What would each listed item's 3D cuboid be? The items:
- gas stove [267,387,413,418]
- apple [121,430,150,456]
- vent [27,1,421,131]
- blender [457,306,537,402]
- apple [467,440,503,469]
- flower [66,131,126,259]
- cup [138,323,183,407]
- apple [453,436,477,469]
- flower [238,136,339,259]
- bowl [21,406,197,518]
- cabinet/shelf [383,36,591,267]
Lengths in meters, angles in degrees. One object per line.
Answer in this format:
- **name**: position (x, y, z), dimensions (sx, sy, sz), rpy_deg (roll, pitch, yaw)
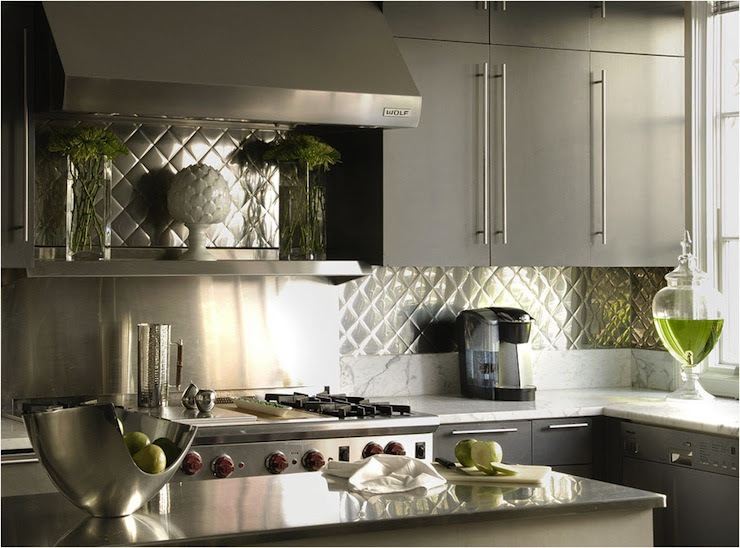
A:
- **gas stove**: position (-0.163, 0.608, 3.696), dimensions (0.748, 0.061, 0.452), rpy_deg (0, 0, 39)
- **apple**: position (-0.639, 0.463, 2.115), dimensions (0.057, 0.076, 0.060), rpy_deg (-4, -15, -8)
- **vent**: position (-0.591, -1.008, 3.472), dimensions (1.613, 0.660, 0.346), rpy_deg (0, 0, -23)
- **blender**: position (0.699, 0.415, 4.154), dimensions (0.288, 0.493, 0.415), rpy_deg (-3, 3, -35)
- **apple**: position (0.370, 0.571, 2.480), dimensions (0.080, 0.089, 0.085), rpy_deg (-6, -1, 28)
- **flower**: position (-1.271, -0.374, 3.626), dimensions (0.256, 0.603, 0.078), rpy_deg (0, 0, -23)
- **cup**: position (-0.999, 0.429, 3.694), dimensions (0.202, 0.383, 0.282), rpy_deg (0, 0, -19)
- **apple**: position (0.308, 0.577, 2.519), dimensions (0.075, 0.094, 0.083), rpy_deg (-1, -2, -5)
- **flower**: position (-0.387, -0.407, 4.083), dimensions (0.452, 0.597, 0.542), rpy_deg (-1, 2, 33)
- **bowl**: position (-0.702, 0.499, 2.102), dimensions (0.301, 0.315, 0.373), rpy_deg (0, 0, 41)
- **cabinet/shelf**: position (0.860, -0.630, 4.362), dimensions (0.391, 1.244, 1.205), rpy_deg (13, -20, -24)
